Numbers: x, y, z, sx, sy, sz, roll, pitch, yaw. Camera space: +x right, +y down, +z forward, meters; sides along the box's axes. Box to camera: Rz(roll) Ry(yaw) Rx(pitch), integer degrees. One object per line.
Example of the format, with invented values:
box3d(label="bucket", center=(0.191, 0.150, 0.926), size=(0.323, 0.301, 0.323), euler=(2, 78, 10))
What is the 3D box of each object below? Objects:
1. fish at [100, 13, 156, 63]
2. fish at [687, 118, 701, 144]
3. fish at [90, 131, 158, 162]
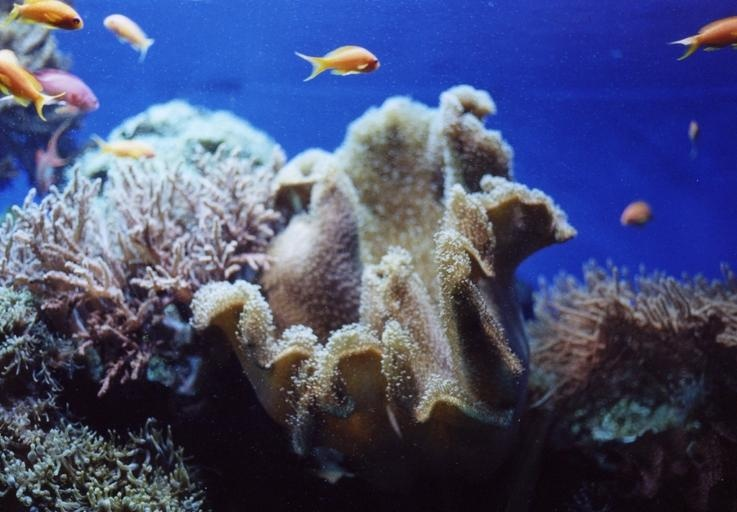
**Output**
box3d(label="fish", center=(-1.352, -1.242, 4.711), size=(0.264, 0.130, 0.063), euler=(37, 26, -24))
box3d(label="fish", center=(1.894, -0.735, 4.837), size=(0.064, 0.116, 0.034), euler=(14, 11, 30))
box3d(label="fish", center=(-1.333, -0.599, 4.593), size=(0.403, 0.201, 0.091), euler=(5, 23, 0))
